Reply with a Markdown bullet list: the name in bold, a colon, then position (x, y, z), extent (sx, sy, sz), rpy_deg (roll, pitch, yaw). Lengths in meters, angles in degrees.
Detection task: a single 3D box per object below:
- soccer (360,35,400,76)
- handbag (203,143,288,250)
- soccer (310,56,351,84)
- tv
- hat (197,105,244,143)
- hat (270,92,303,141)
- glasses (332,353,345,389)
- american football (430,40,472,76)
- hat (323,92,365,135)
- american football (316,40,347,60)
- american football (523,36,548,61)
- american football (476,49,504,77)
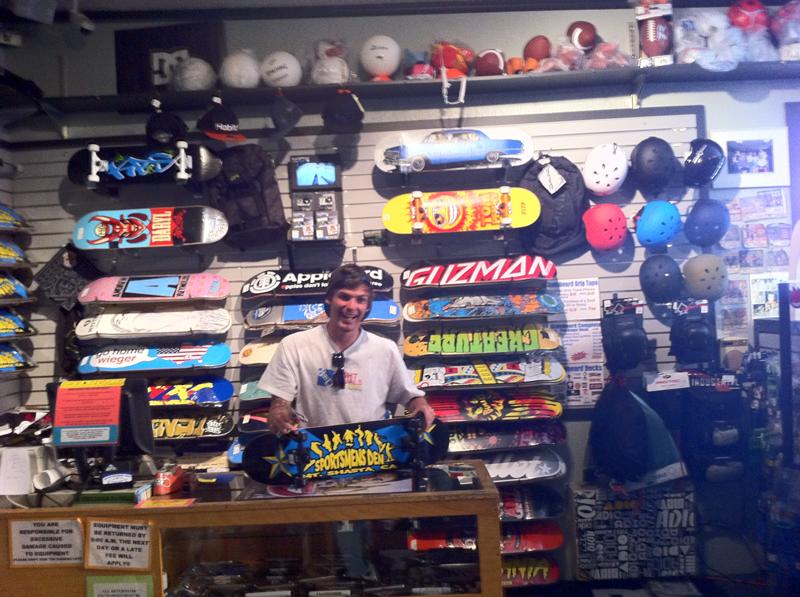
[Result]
- **soccer**: position (-0.165, -1.824, 7.658), extent (0.322, 0.342, 0.313), rpy_deg (-8, 24, -27)
- **handbag**: position (-1.227, -0.746, 7.592), extent (0.630, 0.759, 0.433), rpy_deg (-23, 0, 2)
- **soccer**: position (-0.556, -1.702, 7.527), extent (0.304, 0.192, 0.102), rpy_deg (-4, -1, 1)
- **tv**: position (-1.948, 0.735, 6.207), extent (0.518, 0.458, 0.238), rpy_deg (-2, -9, 5)
- **hat**: position (-1.352, -1.296, 7.488), extent (0.278, 0.189, 0.365), rpy_deg (-3, 21, -34)
- **hat**: position (-0.888, -1.376, 7.560), extent (0.225, 0.282, 0.123), rpy_deg (-13, 12, 21)
- **glasses**: position (-0.416, 0.465, 6.467), extent (0.091, 0.208, 0.142), rpy_deg (-4, -1, -4)
- **american football**: position (0.372, -1.805, 7.542), extent (0.324, 0.241, 0.234), rpy_deg (-2, 6, 1)
- **hat**: position (-0.446, -1.395, 7.548), extent (0.275, 0.288, 0.070), rpy_deg (-1, 36, 1)
- **american football**: position (-0.551, -1.884, 7.571), extent (0.191, 0.128, 0.065), rpy_deg (19, -24, 16)
- **american football**: position (1.038, -1.893, 7.594), extent (0.209, 0.141, 0.150), rpy_deg (-1, -1, 0)
- **american football**: position (0.682, -1.761, 7.563), extent (0.231, 0.192, 0.158), rpy_deg (-8, 43, 15)
